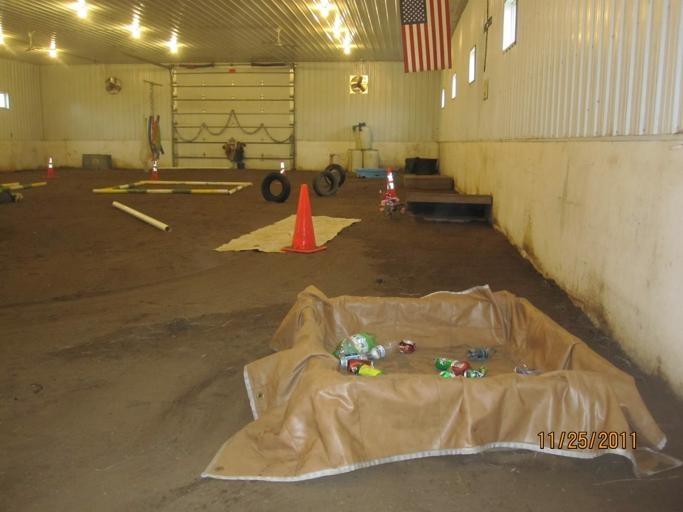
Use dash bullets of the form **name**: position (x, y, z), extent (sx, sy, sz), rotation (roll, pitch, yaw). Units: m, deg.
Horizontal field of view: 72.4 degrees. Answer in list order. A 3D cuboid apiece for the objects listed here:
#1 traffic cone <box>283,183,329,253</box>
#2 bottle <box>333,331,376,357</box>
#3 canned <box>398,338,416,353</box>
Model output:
- **traffic cone**: position (-0.511, -0.542, 6.437), extent (0.544, 0.856, 0.935), rotation (-2, 13, -3)
- **bottle**: position (0.109, 0.614, 3.261), extent (0.223, 0.089, 0.134), rotation (-4, 38, -34)
- **canned**: position (0.485, 0.648, 3.438), extent (0.129, 0.086, 0.177), rotation (0, 13, 8)
